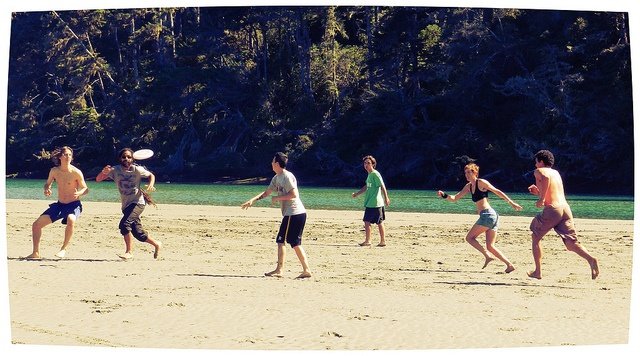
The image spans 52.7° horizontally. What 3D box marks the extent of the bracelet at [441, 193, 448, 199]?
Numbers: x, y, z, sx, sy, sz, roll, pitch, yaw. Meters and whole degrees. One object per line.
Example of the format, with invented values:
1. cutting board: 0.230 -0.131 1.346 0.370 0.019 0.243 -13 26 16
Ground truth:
1. bracelet: 5.105 0.749 26.429 0.408 0.253 0.274 0 7 27
